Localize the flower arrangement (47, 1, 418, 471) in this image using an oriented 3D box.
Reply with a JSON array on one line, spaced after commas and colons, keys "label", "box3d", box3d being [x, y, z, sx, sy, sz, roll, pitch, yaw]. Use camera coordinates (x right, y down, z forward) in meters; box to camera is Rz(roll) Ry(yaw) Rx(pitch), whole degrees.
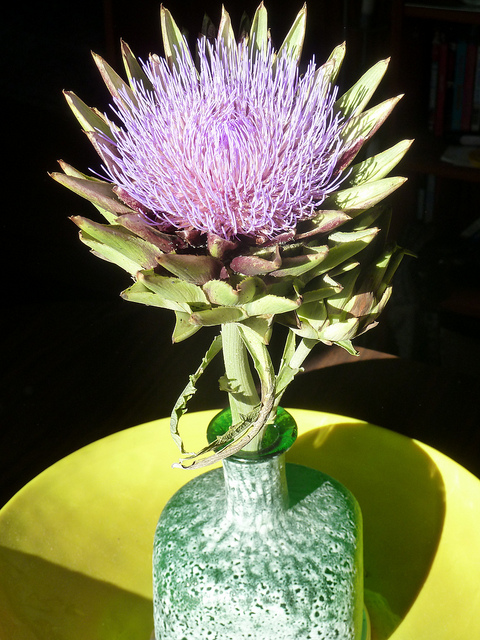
[{"label": "flower arrangement", "box3d": [0.010, -0.060, 0.366, 0.190, 0.290, 0.204, -8, -10, 13]}]
